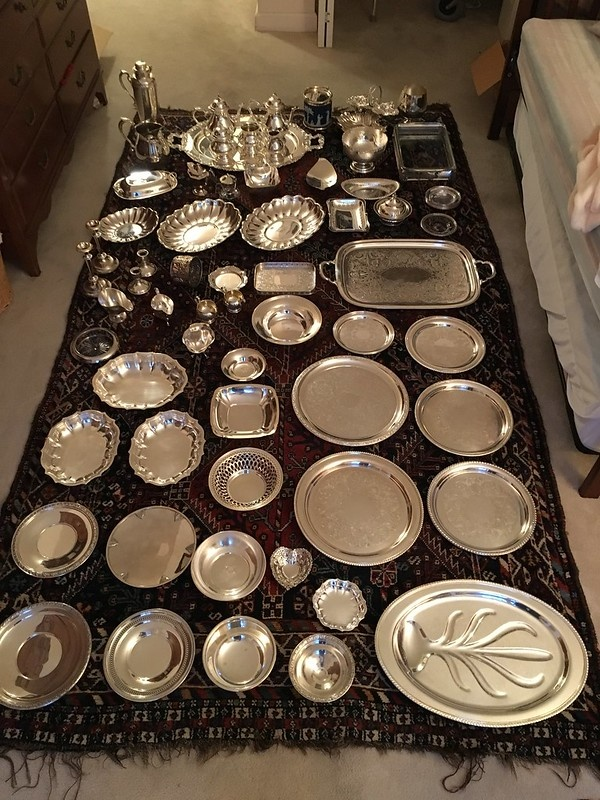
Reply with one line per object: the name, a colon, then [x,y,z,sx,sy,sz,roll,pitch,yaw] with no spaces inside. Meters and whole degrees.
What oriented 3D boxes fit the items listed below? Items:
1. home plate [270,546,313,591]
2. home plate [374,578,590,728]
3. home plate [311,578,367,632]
home plate: [-0.025,0.541,1.918,0.122,0.025,0.120,1,62,-6]
home plate: [0.455,0.737,1.703,0.541,0.610,0.074,43,46,-6]
home plate: [0.125,0.633,1.844,0.134,0.023,0.134,-2,58,3]
